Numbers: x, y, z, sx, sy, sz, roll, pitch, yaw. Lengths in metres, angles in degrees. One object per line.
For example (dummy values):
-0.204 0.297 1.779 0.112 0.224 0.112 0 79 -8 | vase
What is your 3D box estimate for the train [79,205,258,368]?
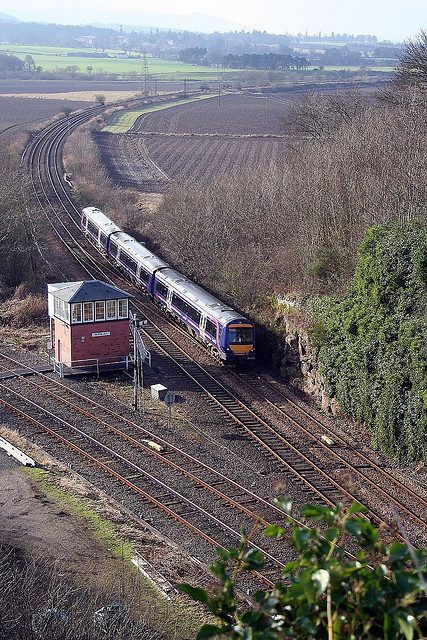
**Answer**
-2.293 -1.854 43.705 1.448 2.210 26.475 -5 22 -18 | train
